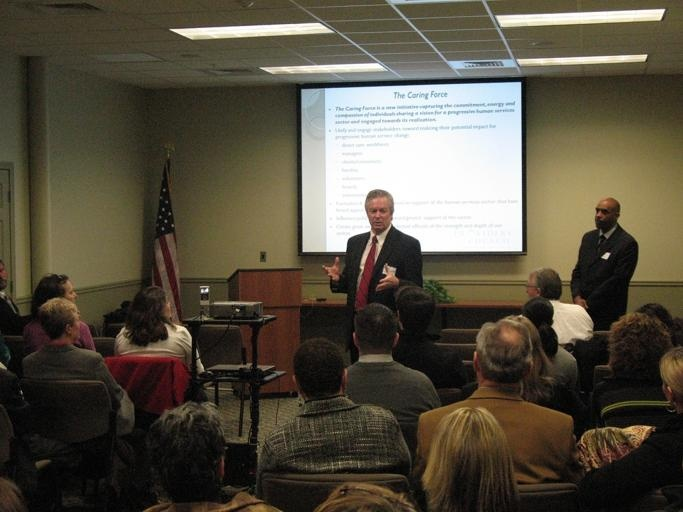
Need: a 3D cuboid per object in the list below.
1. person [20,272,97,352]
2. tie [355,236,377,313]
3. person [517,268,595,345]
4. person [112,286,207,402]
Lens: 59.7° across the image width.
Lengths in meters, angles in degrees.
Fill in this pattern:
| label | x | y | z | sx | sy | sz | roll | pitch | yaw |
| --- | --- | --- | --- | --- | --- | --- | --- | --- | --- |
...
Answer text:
| label | x | y | z | sx | sy | sz | roll | pitch | yaw |
| --- | --- | --- | --- | --- | --- | --- | --- | --- | --- |
| person | -2.214 | 0.557 | 4.723 | 0.474 | 0.822 | 0.441 | -2 | 2 | 11 |
| tie | 0.194 | 0.132 | 4.597 | 0.127 | 0.532 | 0.276 | 2 | 6 | 23 |
| person | 1.694 | 0.384 | 4.624 | 0.357 | 0.939 | 0.372 | -13 | 15 | -15 |
| person | -1.384 | 0.833 | 4.483 | 0.565 | 1.159 | 0.602 | -2 | -4 | 2 |
